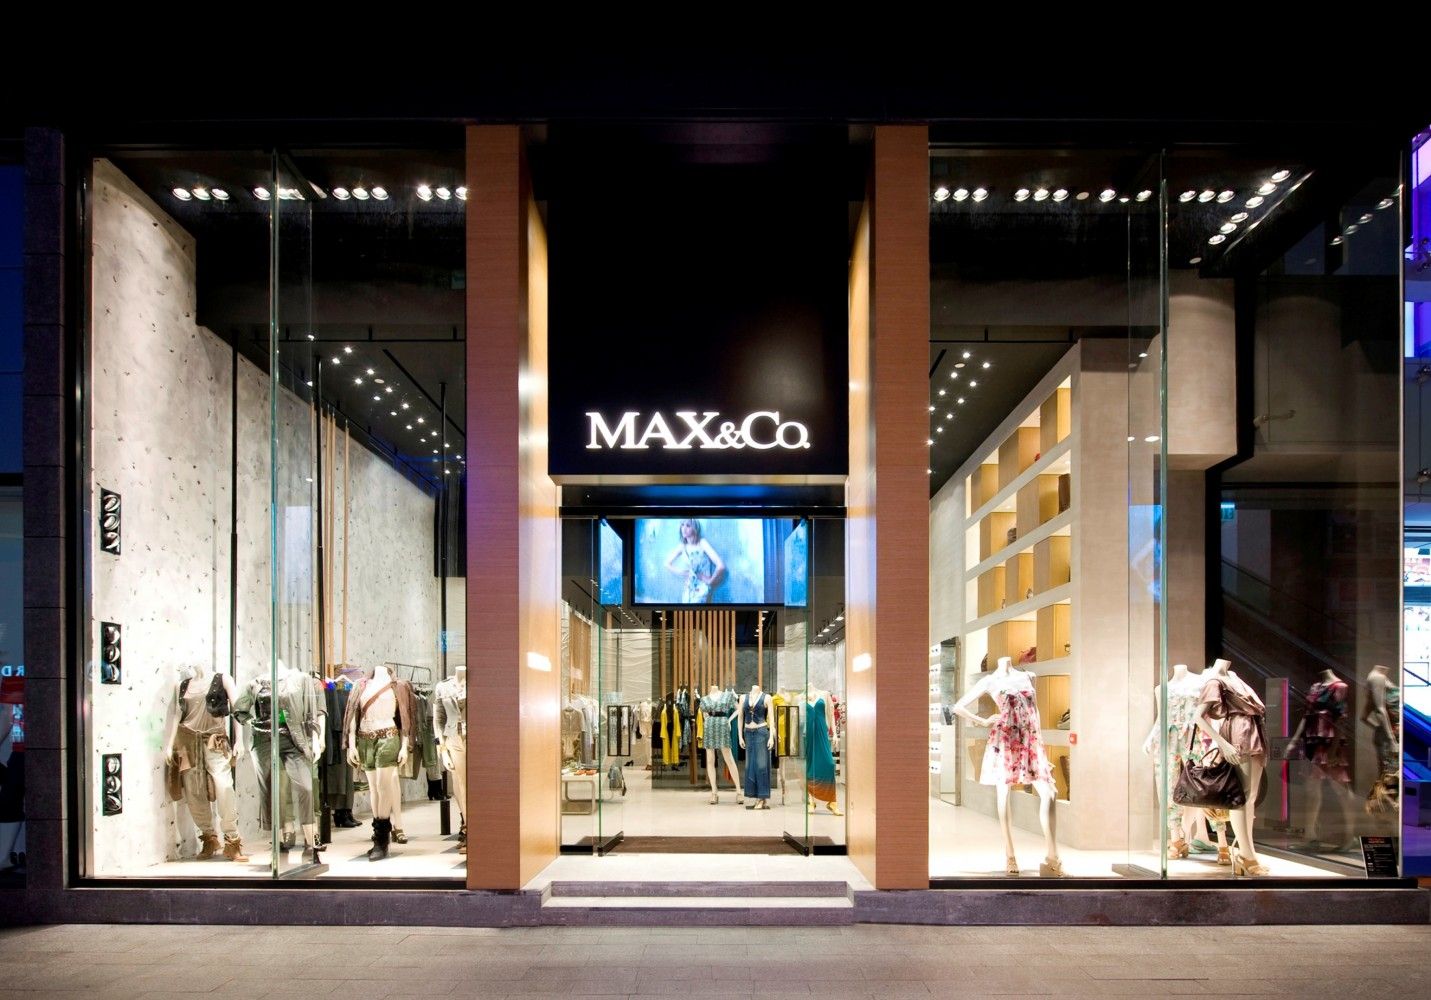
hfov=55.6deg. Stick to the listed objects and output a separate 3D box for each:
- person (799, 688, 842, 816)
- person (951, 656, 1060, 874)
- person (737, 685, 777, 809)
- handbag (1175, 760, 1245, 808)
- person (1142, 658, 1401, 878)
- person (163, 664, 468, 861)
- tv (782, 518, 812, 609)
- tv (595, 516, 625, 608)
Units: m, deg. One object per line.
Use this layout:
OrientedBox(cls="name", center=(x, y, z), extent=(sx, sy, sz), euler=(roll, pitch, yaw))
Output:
OrientedBox(cls="person", center=(0.857, 2.076, 11.306), extent=(0.287, 0.991, 0.179), euler=(-3, -11, 6))
OrientedBox(cls="person", center=(2.175, 1.968, 10.201), extent=(0.686, 1.584, 0.580), euler=(-4, -12, 13))
OrientedBox(cls="person", center=(0.339, 2.068, 11.508), extent=(0.301, 1.004, 0.133), euler=(-3, -11, 7))
OrientedBox(cls="handbag", center=(3.654, 2.097, 10.098), extent=(0.506, 0.357, 0.243), euler=(-6, -12, 19))
OrientedBox(cls="person", center=(4.241, 2.090, 10.397), extent=(1.362, 1.332, 0.508), euler=(-2, -26, 10))
OrientedBox(cls="person", center=(-3.187, 2.079, 10.740), extent=(1.413, 1.248, 0.422), euler=(1, -17, -14))
OrientedBox(cls="tv", center=(0.678, 0.530, 11.596), extent=(0.195, 0.698, 0.289), euler=(2, -12, -15))
OrientedBox(cls="tv", center=(-0.911, 0.479, 11.406), extent=(0.087, 0.941, 0.659), euler=(-2, -6, 20))
